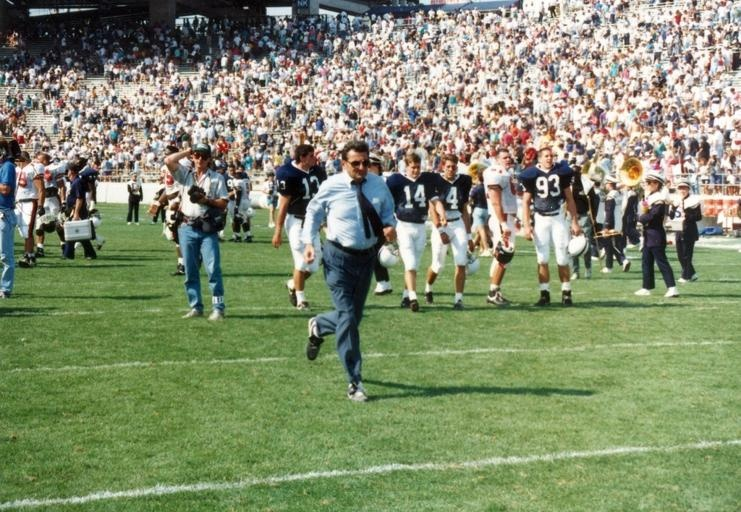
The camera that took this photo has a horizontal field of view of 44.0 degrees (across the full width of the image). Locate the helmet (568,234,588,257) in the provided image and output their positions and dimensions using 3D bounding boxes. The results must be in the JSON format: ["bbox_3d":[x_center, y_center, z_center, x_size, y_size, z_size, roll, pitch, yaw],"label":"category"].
[{"bbox_3d":[2.912,-0.168,12.935,0.212,0.313,0.470,5,12,21],"label":"helmet"}]

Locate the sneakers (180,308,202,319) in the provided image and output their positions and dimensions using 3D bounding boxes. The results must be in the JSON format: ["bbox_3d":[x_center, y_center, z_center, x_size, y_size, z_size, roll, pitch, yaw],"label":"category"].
[{"bbox_3d":[-2.317,0.738,11.882,0.300,0.131,0.113,3,5,-4],"label":"sneakers"}]

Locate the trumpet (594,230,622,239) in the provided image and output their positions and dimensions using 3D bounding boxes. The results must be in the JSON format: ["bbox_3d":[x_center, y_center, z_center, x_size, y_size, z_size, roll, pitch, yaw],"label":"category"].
[{"bbox_3d":[4.260,-0.404,16.434,0.360,0.197,0.219,-1,-2,-10],"label":"trumpet"}]

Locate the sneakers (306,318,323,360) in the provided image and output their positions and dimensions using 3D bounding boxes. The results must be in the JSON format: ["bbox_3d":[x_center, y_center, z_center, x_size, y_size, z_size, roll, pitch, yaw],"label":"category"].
[{"bbox_3d":[-0.551,0.888,9.460,0.170,0.468,0.193,-4,11,-25],"label":"sneakers"}]

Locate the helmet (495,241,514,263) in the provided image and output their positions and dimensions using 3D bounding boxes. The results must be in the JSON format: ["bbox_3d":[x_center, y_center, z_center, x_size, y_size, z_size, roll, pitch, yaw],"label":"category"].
[{"bbox_3d":[1.840,-0.050,12.880,0.309,0.329,0.229,6,12,26],"label":"helmet"}]

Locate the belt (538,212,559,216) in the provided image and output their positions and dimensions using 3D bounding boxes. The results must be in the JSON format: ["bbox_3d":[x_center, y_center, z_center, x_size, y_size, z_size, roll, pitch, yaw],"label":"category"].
[{"bbox_3d":[2.463,-0.593,12.740,0.255,0.059,0.065,0,11,-3],"label":"belt"}]

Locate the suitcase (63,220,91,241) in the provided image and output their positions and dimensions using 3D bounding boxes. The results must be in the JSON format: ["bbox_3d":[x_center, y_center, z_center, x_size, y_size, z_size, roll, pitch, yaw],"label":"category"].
[{"bbox_3d":[-5.339,-0.470,16.785,0.422,0.357,0.608,-2,-5,22],"label":"suitcase"}]

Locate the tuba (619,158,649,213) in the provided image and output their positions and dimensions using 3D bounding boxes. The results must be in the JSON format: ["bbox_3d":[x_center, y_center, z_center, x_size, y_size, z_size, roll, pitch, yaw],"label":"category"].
[{"bbox_3d":[5.205,-1.531,18.391,0.489,0.980,1.763,4,11,15],"label":"tuba"}]

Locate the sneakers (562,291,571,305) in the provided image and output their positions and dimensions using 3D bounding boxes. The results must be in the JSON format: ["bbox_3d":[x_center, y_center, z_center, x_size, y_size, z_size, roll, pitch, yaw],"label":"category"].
[{"bbox_3d":[2.765,0.587,12.926,0.130,0.216,0.134,3,11,10],"label":"sneakers"}]

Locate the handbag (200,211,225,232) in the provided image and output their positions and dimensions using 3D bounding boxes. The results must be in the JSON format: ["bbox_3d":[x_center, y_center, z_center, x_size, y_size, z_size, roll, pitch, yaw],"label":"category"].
[{"bbox_3d":[-1.971,-0.436,11.623,0.208,0.363,0.389,5,6,39],"label":"handbag"}]

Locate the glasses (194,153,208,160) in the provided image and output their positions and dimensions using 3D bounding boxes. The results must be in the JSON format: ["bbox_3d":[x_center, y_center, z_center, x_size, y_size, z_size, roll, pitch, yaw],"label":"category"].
[{"bbox_3d":[-2.137,-1.270,11.614,0.185,0.069,0.113,-3,12,-20],"label":"glasses"}]

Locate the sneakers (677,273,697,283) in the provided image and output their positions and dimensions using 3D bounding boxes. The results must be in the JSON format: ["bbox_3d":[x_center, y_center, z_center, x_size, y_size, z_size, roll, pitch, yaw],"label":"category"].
[{"bbox_3d":[5.346,0.389,15.456,0.373,0.167,0.141,-5,9,12],"label":"sneakers"}]

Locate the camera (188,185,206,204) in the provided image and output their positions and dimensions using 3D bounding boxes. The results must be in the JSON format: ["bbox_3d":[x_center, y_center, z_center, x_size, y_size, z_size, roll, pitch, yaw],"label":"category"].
[{"bbox_3d":[-2.178,-0.770,11.418,0.153,0.121,0.248,-42,22,-10],"label":"camera"}]

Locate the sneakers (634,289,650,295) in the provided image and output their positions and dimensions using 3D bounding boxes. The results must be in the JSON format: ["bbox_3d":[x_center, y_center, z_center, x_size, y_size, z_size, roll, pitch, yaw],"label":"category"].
[{"bbox_3d":[4.131,0.544,14.016,0.101,0.117,0.202,0,3,-40],"label":"sneakers"}]

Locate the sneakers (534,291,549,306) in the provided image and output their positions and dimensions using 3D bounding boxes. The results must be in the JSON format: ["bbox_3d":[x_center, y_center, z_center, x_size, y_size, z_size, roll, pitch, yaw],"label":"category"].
[{"bbox_3d":[2.433,0.580,13.000,0.199,0.217,0.337,3,11,12],"label":"sneakers"}]

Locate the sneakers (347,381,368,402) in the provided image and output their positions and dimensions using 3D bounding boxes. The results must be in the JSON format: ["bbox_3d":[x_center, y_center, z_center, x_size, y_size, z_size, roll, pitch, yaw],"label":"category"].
[{"bbox_3d":[-0.140,1.331,8.942,0.100,0.135,0.272,-2,-2,-28],"label":"sneakers"}]

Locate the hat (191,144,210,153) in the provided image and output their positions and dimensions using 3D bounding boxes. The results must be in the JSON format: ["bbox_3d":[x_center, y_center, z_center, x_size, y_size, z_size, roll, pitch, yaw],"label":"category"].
[{"bbox_3d":[-2.160,-1.352,11.581,0.242,0.135,0.124,-9,15,-41],"label":"hat"}]

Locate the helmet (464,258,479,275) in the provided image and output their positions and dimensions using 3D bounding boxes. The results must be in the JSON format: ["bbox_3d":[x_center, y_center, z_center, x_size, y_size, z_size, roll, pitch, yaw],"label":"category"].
[{"bbox_3d":[1.449,0.140,13.304,0.223,0.197,0.174,25,-24,-36],"label":"helmet"}]

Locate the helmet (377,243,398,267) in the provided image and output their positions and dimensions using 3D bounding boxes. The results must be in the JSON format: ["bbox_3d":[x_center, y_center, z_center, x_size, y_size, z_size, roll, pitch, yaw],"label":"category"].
[{"bbox_3d":[0.180,0.012,11.427,0.214,0.275,0.289,4,38,-7],"label":"helmet"}]

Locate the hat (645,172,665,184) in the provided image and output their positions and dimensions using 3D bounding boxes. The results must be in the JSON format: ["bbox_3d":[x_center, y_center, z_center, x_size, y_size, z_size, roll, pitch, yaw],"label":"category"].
[{"bbox_3d":[4.338,-1.187,13.939,0.339,0.124,0.257,16,5,-21],"label":"hat"}]
